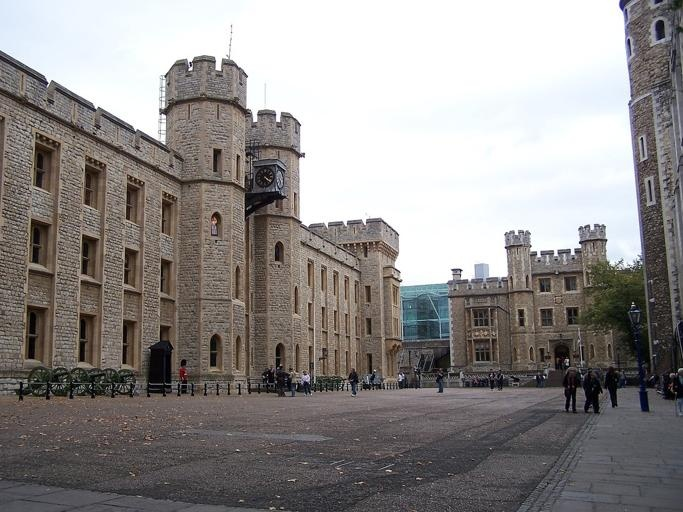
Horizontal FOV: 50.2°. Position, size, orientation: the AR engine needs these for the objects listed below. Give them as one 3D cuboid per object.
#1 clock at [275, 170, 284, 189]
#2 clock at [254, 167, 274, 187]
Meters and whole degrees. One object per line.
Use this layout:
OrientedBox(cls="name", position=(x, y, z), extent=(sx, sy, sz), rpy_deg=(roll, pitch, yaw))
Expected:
OrientedBox(cls="clock", position=(-3.994, -4.935, 46.971), extent=(0.853, 0.881, 0.866), rpy_deg=(0, -21, 6))
OrientedBox(cls="clock", position=(-4.927, -5.012, 46.833), extent=(1.193, 1.242, 0.278), rpy_deg=(-2, -4, 23))
